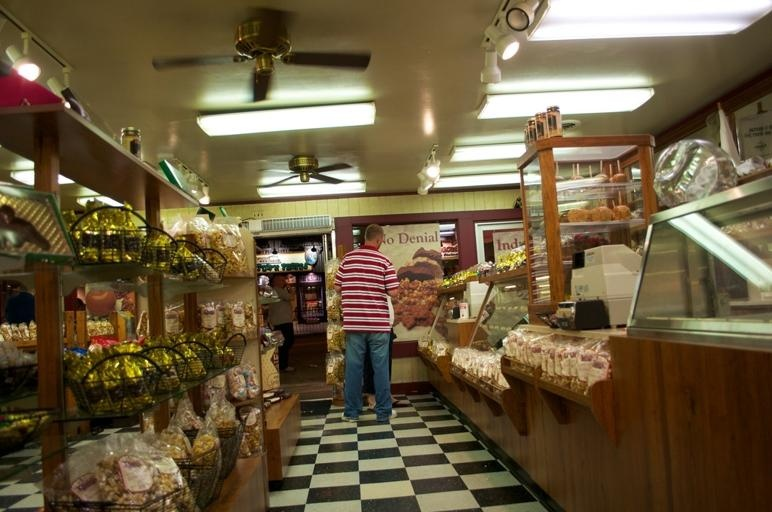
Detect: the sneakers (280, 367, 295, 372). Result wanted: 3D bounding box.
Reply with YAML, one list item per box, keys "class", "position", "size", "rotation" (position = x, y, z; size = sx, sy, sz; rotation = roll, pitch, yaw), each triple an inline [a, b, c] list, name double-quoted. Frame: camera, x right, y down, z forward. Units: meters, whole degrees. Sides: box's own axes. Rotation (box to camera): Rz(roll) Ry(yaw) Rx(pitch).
- class: "sneakers"
  position: [-1.758, 1.994, 9.669]
  size: [0.213, 0.086, 0.074]
  rotation: [-1, 4, -5]

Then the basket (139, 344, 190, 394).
- class: "basket"
  position: [-1.134, 0.590, 2.904]
  size: [0.251, 0.205, 0.232]
  rotation: [-1, -3, 19]

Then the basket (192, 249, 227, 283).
- class: "basket"
  position: [-1.099, 0.058, 3.464]
  size: [0.182, 0.272, 0.261]
  rotation: [1, 0, -25]

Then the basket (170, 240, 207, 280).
- class: "basket"
  position: [-1.138, 0.046, 3.190]
  size: [0.227, 0.282, 0.285]
  rotation: [0, -5, -4]

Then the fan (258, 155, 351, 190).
- class: "fan"
  position: [-0.887, -1.042, 6.764]
  size: [0.604, 0.222, 0.977]
  rotation: [-4, -1, -9]

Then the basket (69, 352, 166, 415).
- class: "basket"
  position: [-1.266, 0.578, 2.549]
  size: [0.232, 0.178, 0.357]
  rotation: [0, -1, -22]

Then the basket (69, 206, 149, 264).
- class: "basket"
  position: [-1.333, -0.092, 2.689]
  size: [0.296, 0.228, 0.314]
  rotation: [0, -3, -2]

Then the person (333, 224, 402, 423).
- class: "person"
  position: [-0.184, 0.827, 5.882]
  size: [0.672, 1.348, 0.288]
  rotation: [-4, -2, -6]

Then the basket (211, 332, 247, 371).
- class: "basket"
  position: [-1.098, 0.657, 3.805]
  size: [0.157, 0.207, 0.313]
  rotation: [10, -10, -8]

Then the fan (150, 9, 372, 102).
- class: "fan"
  position: [-0.866, -1.519, 4.002]
  size: [0.797, 0.184, 0.782]
  rotation: [6, -13, -44]

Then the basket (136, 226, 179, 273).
- class: "basket"
  position: [-1.211, -0.042, 2.943]
  size: [0.243, 0.236, 0.231]
  rotation: [2, 3, 8]

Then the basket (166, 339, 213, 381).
- class: "basket"
  position: [-1.145, 0.602, 3.175]
  size: [0.253, 0.165, 0.214]
  rotation: [4, -8, -24]

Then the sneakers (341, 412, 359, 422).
- class: "sneakers"
  position: [-0.374, 1.718, 5.840]
  size: [0.173, 0.052, 0.130]
  rotation: [-4, -2, -8]
